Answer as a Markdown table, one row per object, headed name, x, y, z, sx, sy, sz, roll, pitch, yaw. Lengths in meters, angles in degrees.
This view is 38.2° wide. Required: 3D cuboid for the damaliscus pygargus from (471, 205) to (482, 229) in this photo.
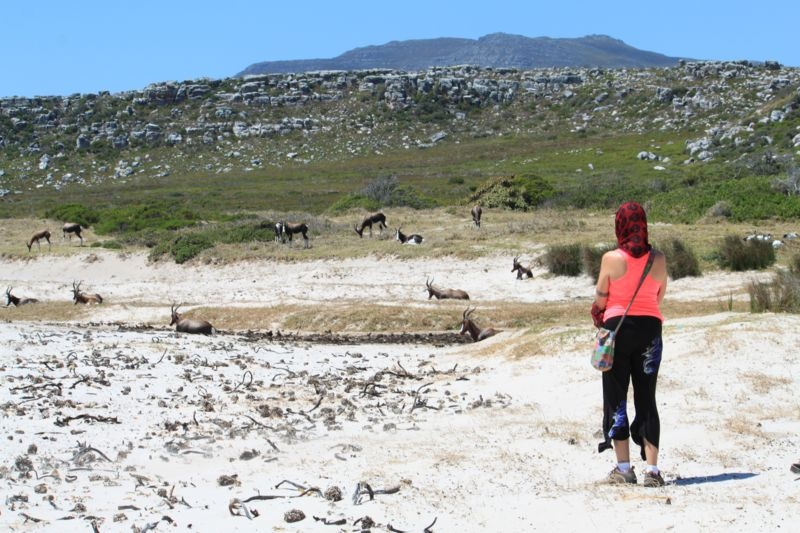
| name | x | y | z | sx | sy | sz | roll | pitch | yaw |
| --- | --- | --- | --- | --- | --- | --- | --- | --- | --- |
| damaliscus pygargus | 5.985 | -3.819 | 89.313 | 0.655 | 1.627 | 2.235 | -4 | 1 | 3 |
